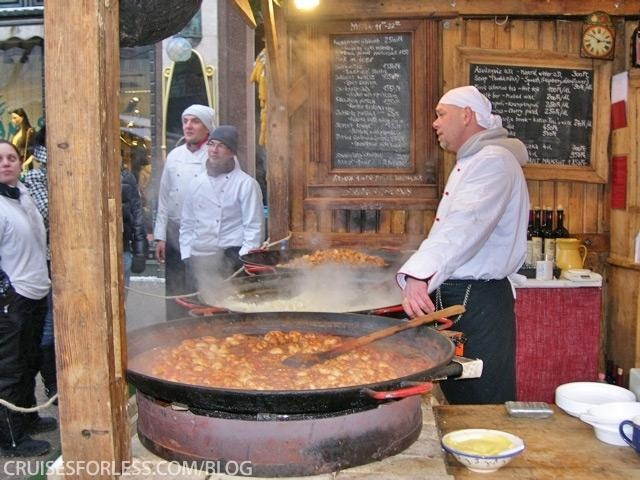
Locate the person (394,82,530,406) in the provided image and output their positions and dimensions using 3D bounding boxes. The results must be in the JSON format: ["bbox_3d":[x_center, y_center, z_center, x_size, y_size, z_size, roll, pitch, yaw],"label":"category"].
[{"bbox_3d":[0.823,-0.004,3.933,0.923,1.871,0.751,1,2,10],"label":"person"}]

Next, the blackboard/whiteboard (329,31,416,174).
[{"bbox_3d":[0.456,-1.184,5.899,0.888,1.511,0.083,1,37,6],"label":"blackboard/whiteboard"}]

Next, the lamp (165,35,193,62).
[{"bbox_3d":[-1.824,-2.439,8.731,0.377,0.308,0.218,1,10,-1],"label":"lamp"}]

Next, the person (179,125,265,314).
[{"bbox_3d":[-0.910,0.190,6.102,0.856,2.343,0.601,8,12,22],"label":"person"}]

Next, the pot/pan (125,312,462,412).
[{"bbox_3d":[-0.200,0.450,3.180,1.307,0.355,1.315,-3,7,-21],"label":"pot/pan"}]

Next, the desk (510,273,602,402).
[{"bbox_3d":[2.061,0.913,5.800,0.622,1.043,0.649,-7,-13,37],"label":"desk"}]

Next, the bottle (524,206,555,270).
[{"bbox_3d":[1.905,-0.042,5.887,0.234,0.643,0.238,5,8,-1],"label":"bottle"}]

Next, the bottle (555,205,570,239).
[{"bbox_3d":[2.112,-0.148,5.886,0.127,0.268,0.209,5,10,20],"label":"bottle"}]

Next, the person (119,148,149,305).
[{"bbox_3d":[-2.076,-0.064,7.646,0.261,1.363,0.900,-1,10,-15],"label":"person"}]

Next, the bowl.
[{"bbox_3d":[0.650,0.851,2.723,0.319,0.113,0.179,4,10,13],"label":"bowl"}]

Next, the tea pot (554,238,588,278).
[{"bbox_3d":[2.179,0.158,5.821,0.300,0.378,0.267,9,24,45],"label":"tea pot"}]

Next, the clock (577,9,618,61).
[{"bbox_3d":[2.358,-1.708,5.687,0.301,0.365,0.090,1,10,-2],"label":"clock"}]

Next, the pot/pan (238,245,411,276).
[{"bbox_3d":[0.007,0.110,4.867,0.923,0.162,0.741,4,4,10],"label":"pot/pan"}]

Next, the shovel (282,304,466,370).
[{"bbox_3d":[0.216,0.387,3.206,0.725,0.284,0.789,5,7,35],"label":"shovel"}]

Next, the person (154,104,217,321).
[{"bbox_3d":[-1.222,-0.070,6.514,0.660,2.385,0.461,3,9,0],"label":"person"}]

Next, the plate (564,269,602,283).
[{"bbox_3d":[2.154,0.302,5.569,0.296,0.089,0.164,5,10,20],"label":"plate"}]
